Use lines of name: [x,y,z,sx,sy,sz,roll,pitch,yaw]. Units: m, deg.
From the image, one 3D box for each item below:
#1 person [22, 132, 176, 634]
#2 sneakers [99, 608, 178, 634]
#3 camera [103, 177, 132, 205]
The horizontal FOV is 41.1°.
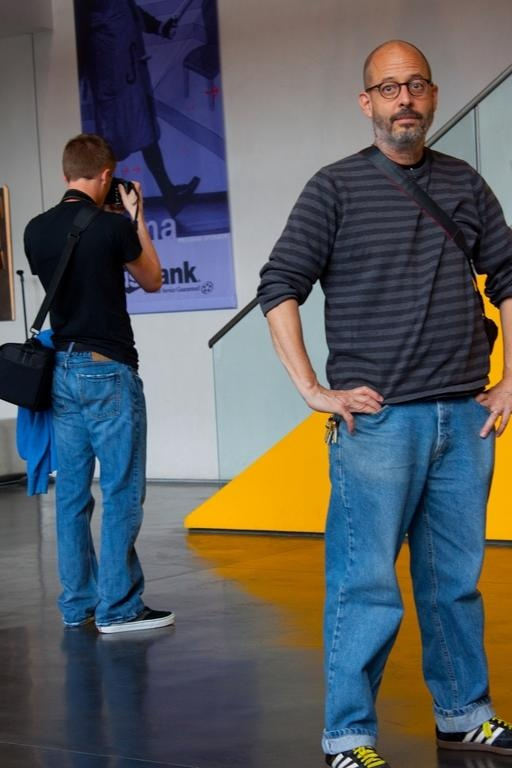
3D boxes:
person: [-0.581,-0.023,2.600,0.494,1.890,0.546,-2,-5,-35]
sneakers: [-0.433,0.859,2.567,0.226,0.076,0.097,-3,-4,-17]
camera: [-0.556,-0.771,2.741,0.114,0.105,0.042,7,15,18]
